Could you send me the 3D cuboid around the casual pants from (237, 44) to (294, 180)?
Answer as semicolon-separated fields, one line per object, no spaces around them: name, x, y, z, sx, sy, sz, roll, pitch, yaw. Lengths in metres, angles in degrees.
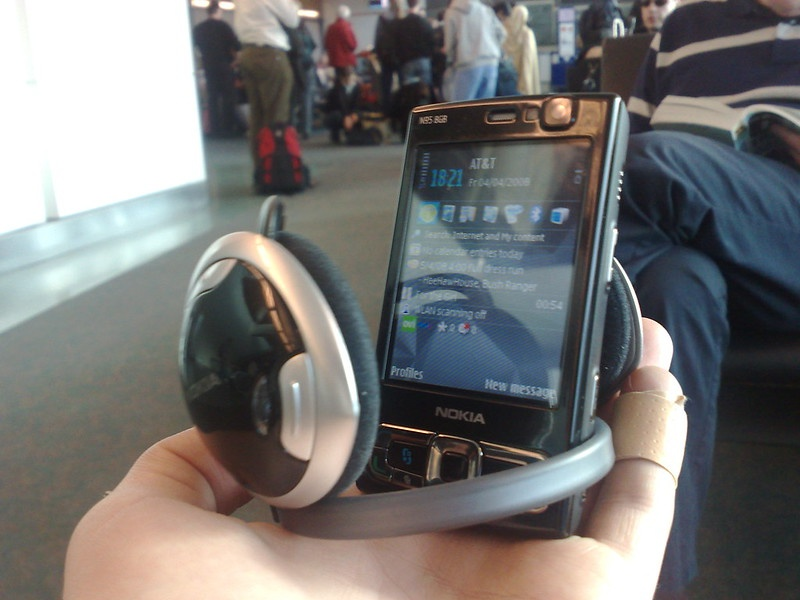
casual pants;-0.219;-0.322;1.141;0.055;0.209;0.069;-24;46;-35

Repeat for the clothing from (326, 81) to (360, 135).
clothing;-0.101;-0.323;1.166;0.030;0.085;0.064;12;13;35
